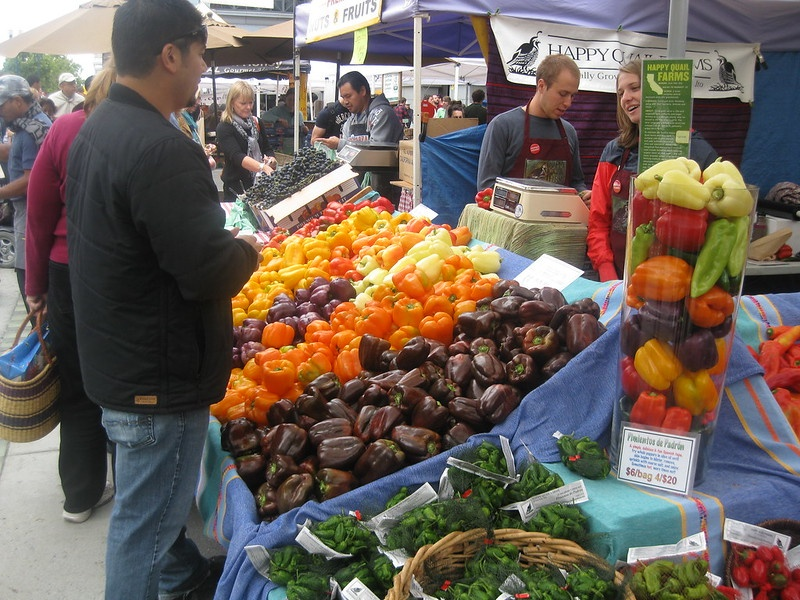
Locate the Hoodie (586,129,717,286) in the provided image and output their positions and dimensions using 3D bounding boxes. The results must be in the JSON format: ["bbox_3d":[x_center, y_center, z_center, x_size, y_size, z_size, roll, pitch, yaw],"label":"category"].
[{"bbox_3d":[1.995,-0.513,4.294,0.541,1.330,0.986,13,0,-29],"label":"Hoodie"}]

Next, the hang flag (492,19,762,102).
[{"bbox_3d":[2.027,-2.346,5.280,2.850,0.777,0.228,2,32,-12],"label":"hang flag"}]

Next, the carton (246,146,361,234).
[{"bbox_3d":[-1.142,-1.183,5.906,1.001,0.340,1.004,-33,34,-12],"label":"carton"}]

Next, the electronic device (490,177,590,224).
[{"bbox_3d":[1.145,-0.773,4.339,0.473,0.184,0.484,-1,18,-19],"label":"electronic device"}]

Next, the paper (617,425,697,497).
[{"bbox_3d":[1.017,0.632,2.149,0.277,0.245,0.038,6,11,28],"label":"paper"}]

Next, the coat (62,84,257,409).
[{"bbox_3d":[-1.034,-0.185,2.290,0.688,1.333,0.445,5,20,16],"label":"coat"}]

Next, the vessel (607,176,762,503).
[{"bbox_3d":[1.062,0.142,2.140,0.420,1.249,0.368,8,21,25],"label":"vessel"}]
